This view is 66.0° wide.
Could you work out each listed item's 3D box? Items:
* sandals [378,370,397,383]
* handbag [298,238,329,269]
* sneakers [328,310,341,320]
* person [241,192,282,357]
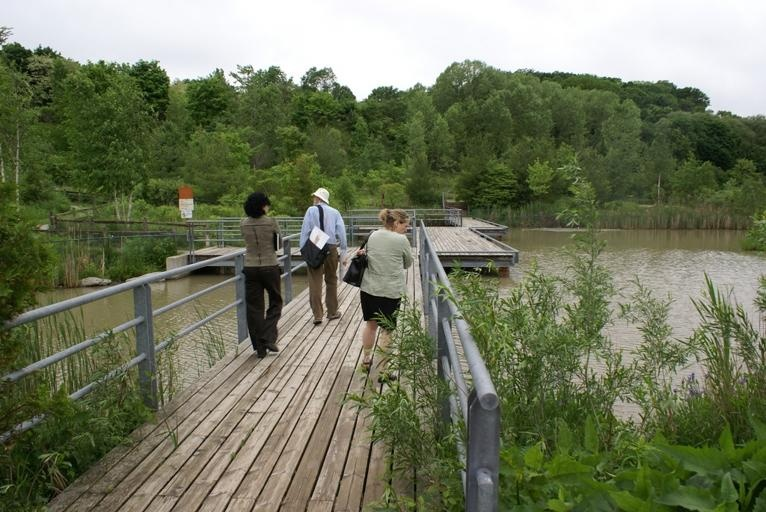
[{"bbox_3d":[0.039,1.101,5.379,0.167,0.109,0.261,0,-7,6],"label":"sandals"},{"bbox_3d":[-0.823,-0.012,7.111,0.313,0.343,0.140,34,28,20],"label":"handbag"},{"bbox_3d":[-0.634,0.761,7.712,0.075,0.087,0.184,6,12,22],"label":"sneakers"},{"bbox_3d":[-1.269,0.192,6.261,0.417,1.691,0.658,-4,13,-13],"label":"person"}]
